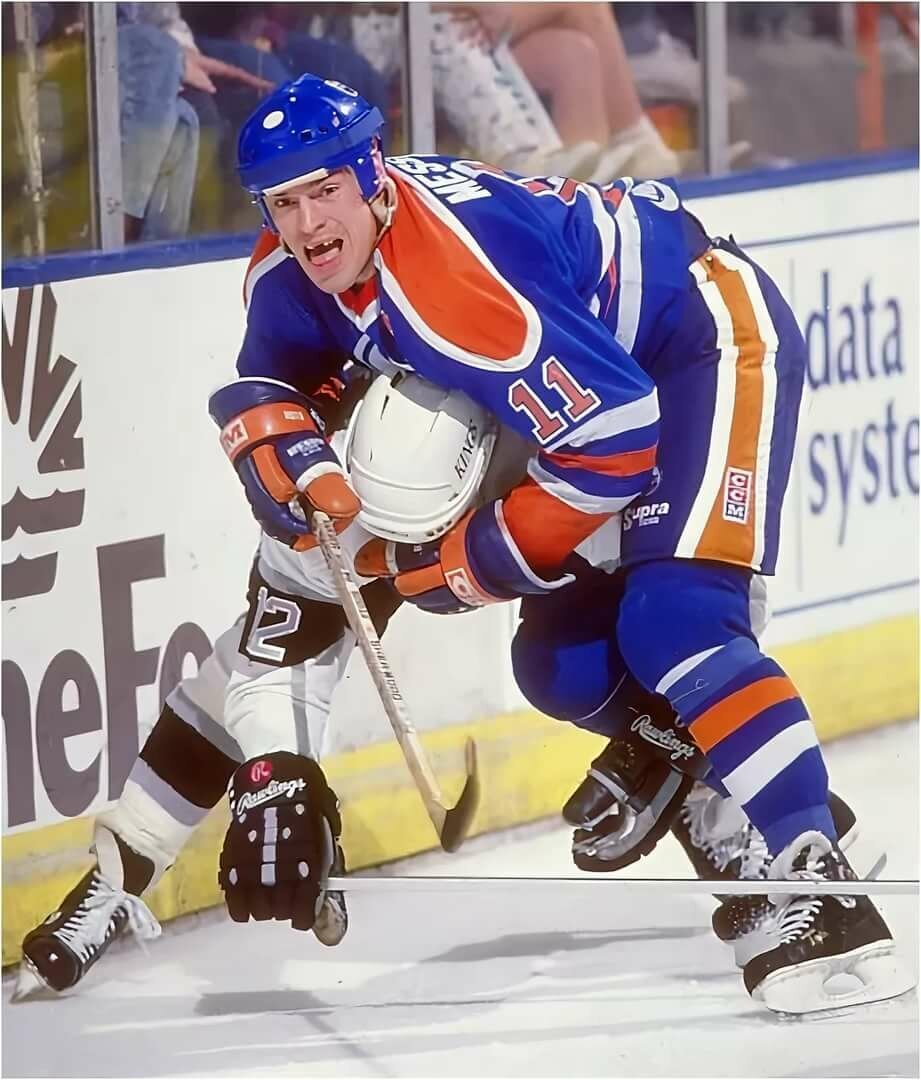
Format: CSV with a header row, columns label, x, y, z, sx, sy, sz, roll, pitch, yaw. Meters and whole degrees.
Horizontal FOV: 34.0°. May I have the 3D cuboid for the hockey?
label,x,y,z,sx,sy,sz,roll,pitch,yaw
hockey,-0.114,0.229,2.401,0.045,0.690,0.226,-37,-41,24

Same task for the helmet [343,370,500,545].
label,x,y,z,sx,sy,sz,roll,pitch,yaw
helmet,-0.059,-0.115,2.084,0.183,0.233,0.134,12,-30,17

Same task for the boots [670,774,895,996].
label,x,y,z,sx,sy,sz,roll,pitch,yaw
boots,0.488,0.539,2.331,0.277,0.165,0.511,31,18,-4

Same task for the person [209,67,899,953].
label,x,y,z,sx,sy,sz,roll,pitch,yaw
person,0.129,-0.040,2.198,0.864,1.279,0.623,-29,23,-24

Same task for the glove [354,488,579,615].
label,x,y,z,sx,sy,sz,roll,pitch,yaw
glove,0.001,0.040,2.083,0.223,0.087,0.156,-20,24,23

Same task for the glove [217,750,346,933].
label,x,y,z,sx,sy,sz,roll,pitch,yaw
glove,-0.234,0.397,2.047,0.198,0.224,0.116,0,0,-14

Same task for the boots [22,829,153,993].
label,x,y,z,sx,sy,sz,roll,pitch,yaw
boots,-0.573,0.562,2.286,0.123,0.088,0.263,-35,13,41

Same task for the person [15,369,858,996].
label,x,y,z,sx,sy,sz,roll,pitch,yaw
person,-0.065,0.236,2.389,1.094,0.703,0.979,-5,26,24

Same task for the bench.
label,x,y,z,sx,sy,sz,roll,pitch,yaw
bench,-0.215,-0.618,2.338,0.664,0.350,0.011,-13,9,-37

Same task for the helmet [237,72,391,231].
label,x,y,z,sx,sy,sz,roll,pitch,yaw
helmet,-0.218,-0.537,2.029,0.196,0.172,0.207,-20,26,-3
